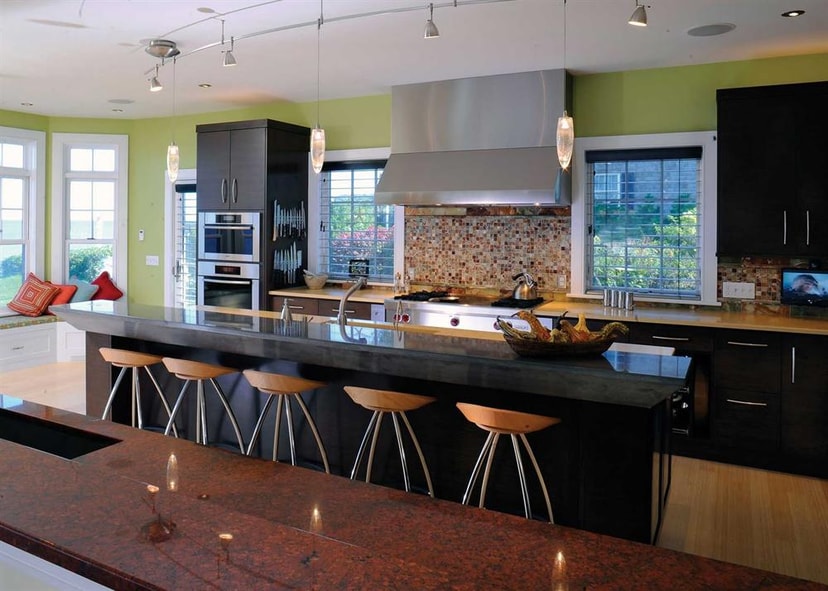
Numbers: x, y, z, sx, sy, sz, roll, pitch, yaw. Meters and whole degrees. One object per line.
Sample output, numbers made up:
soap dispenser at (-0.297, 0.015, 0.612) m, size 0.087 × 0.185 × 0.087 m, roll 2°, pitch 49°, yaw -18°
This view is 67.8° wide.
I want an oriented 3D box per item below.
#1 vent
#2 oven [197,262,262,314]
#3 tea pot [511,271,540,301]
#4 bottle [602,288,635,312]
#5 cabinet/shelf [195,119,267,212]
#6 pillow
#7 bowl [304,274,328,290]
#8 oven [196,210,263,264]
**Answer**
vent at (0.602, -1.490, 5.911) m, size 1.757 × 1.203 × 0.932 m, roll 4°, pitch 14°, yaw 26°
oven at (-2.100, 0.022, 6.853) m, size 0.683 × 0.656 × 0.451 m, roll 5°, pitch -28°, yaw -27°
tea pot at (1.059, -0.101, 5.748) m, size 0.292 × 0.284 × 0.221 m, roll -4°, pitch 5°, yaw -43°
bottle at (1.795, 0.030, 5.439) m, size 0.170 × 0.217 × 0.305 m, roll -2°, pitch 5°, yaw -36°
cabinet/shelf at (-1.962, -1.362, 6.799) m, size 0.838 × 0.818 × 0.344 m, roll 2°, pitch 4°, yaw 4°
pillow at (-4.293, -0.047, 7.594) m, size 1.186 × 0.460 × 0.491 m, roll -6°, pitch 15°, yaw -35°
bowl at (-1.085, -0.146, 6.755) m, size 0.179 × 0.125 × 0.186 m, roll -2°, pitch -1°, yaw 0°
oven at (-1.961, -0.634, 6.785) m, size 0.778 × 0.576 × 0.549 m, roll -1°, pitch -3°, yaw 23°
